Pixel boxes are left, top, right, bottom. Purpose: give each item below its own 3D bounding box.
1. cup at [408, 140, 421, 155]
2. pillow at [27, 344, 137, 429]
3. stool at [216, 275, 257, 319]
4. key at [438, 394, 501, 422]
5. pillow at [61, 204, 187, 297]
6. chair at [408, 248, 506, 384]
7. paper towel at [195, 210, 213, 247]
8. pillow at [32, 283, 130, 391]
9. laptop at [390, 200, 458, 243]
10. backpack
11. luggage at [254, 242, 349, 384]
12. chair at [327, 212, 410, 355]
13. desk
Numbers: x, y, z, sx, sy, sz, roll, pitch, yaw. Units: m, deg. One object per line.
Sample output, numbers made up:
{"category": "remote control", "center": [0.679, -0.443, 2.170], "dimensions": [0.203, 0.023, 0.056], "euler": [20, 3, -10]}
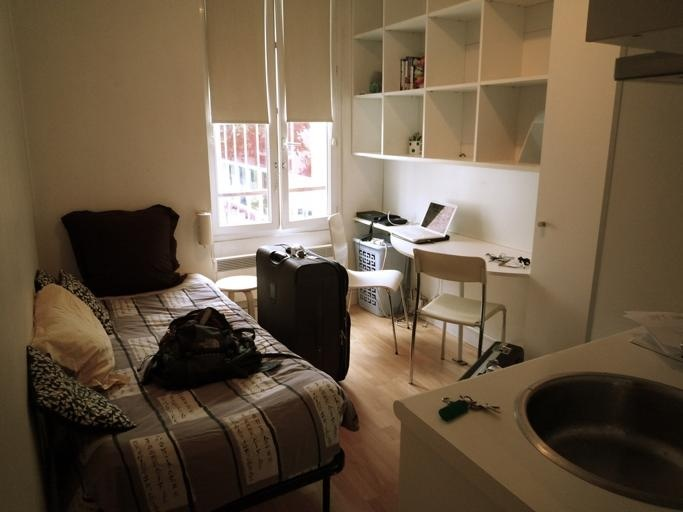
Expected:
{"category": "cup", "center": [0.604, -0.886, 4.213], "dimensions": [0.116, 0.123, 0.118], "euler": [2, 17, -1]}
{"category": "pillow", "center": [-1.027, 0.531, 2.015], "dimensions": [0.377, 0.334, 0.245], "euler": [-5, 15, -16]}
{"category": "stool", "center": [-0.773, 0.245, 3.859], "dimensions": [0.313, 0.371, 0.323], "euler": [-5, 20, -15]}
{"category": "key", "center": [0.360, 0.449, 1.516], "dimensions": [0.089, 0.036, 0.091], "euler": [-8, 9, -27]}
{"category": "pillow", "center": [-1.472, -0.025, 3.380], "dimensions": [0.501, 0.443, 0.218], "euler": [-11, 17, -29]}
{"category": "chair", "center": [0.761, 0.380, 3.312], "dimensions": [0.648, 0.949, 0.673], "euler": [-6, 17, -7]}
{"category": "paper towel", "center": [-1.016, -0.199, 3.778], "dimensions": [0.105, 0.224, 0.146], "euler": [-5, 15, -16]}
{"category": "pillow", "center": [-1.289, 0.375, 2.478], "dimensions": [0.344, 0.271, 0.720], "euler": [6, 22, -36]}
{"category": "laptop", "center": [0.621, -0.260, 3.983], "dimensions": [0.386, 0.263, 0.402], "euler": [-9, 16, -23]}
{"category": "backpack", "center": [-0.658, 0.450, 2.462], "dimensions": [0.417, 0.164, 0.349], "euler": [-2, 13, -14]}
{"category": "luggage", "center": [-0.240, 0.362, 3.060], "dimensions": [0.368, 0.776, 0.655], "euler": [-10, 20, -36]}
{"category": "chair", "center": [0.232, 0.239, 4.009], "dimensions": [0.725, 1.288, 0.676], "euler": [-2, 19, 15]}
{"category": "desk", "center": [0.753, 0.215, 3.720], "dimensions": [0.395, 0.462, 0.870], "euler": [-21, 31, -37]}
